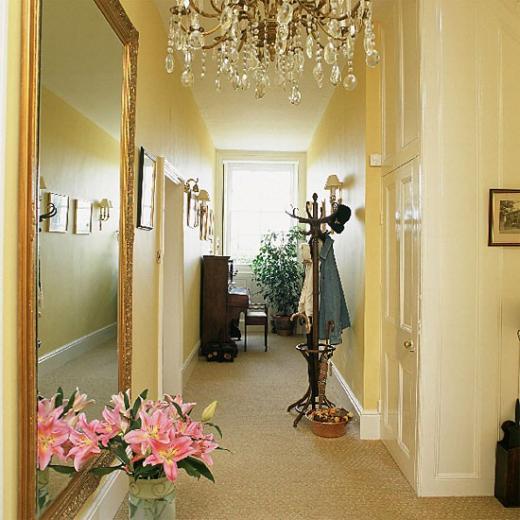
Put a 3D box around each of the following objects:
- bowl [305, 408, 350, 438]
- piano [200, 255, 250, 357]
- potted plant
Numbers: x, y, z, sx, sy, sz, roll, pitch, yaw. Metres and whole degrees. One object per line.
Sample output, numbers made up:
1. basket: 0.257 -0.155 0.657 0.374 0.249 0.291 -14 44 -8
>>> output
1. bowl: 0.609 1.426 4.035 0.390 0.188 0.291 0 1 14
2. piano: -0.535 0.697 6.862 0.701 1.507 0.606 0 1 -10
3. potted plant: 0.335 0.388 8.688 0.979 1.991 1.074 0 1 9
